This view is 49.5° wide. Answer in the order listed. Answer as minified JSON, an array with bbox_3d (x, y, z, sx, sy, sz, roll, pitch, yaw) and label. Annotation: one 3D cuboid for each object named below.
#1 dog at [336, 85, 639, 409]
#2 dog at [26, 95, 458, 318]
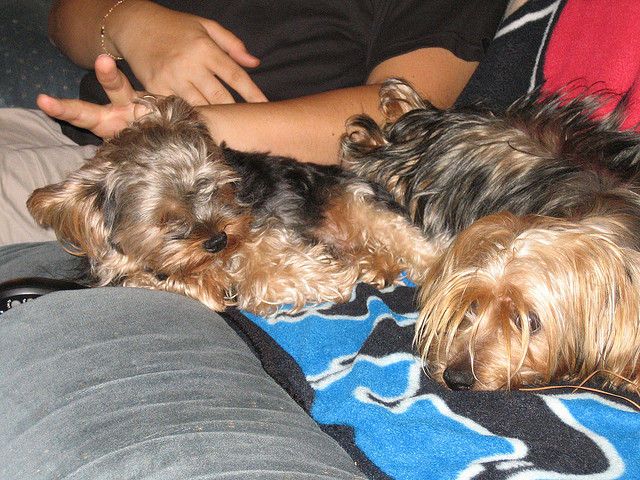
[{"bbox_3d":[0.774,-0.056,2.729,0.932,0.614,1.488,-8,51,-10],"label":"dog"},{"bbox_3d":[-0.295,-0.053,3.062,1.677,0.683,0.926,-4,35,13],"label":"dog"}]
